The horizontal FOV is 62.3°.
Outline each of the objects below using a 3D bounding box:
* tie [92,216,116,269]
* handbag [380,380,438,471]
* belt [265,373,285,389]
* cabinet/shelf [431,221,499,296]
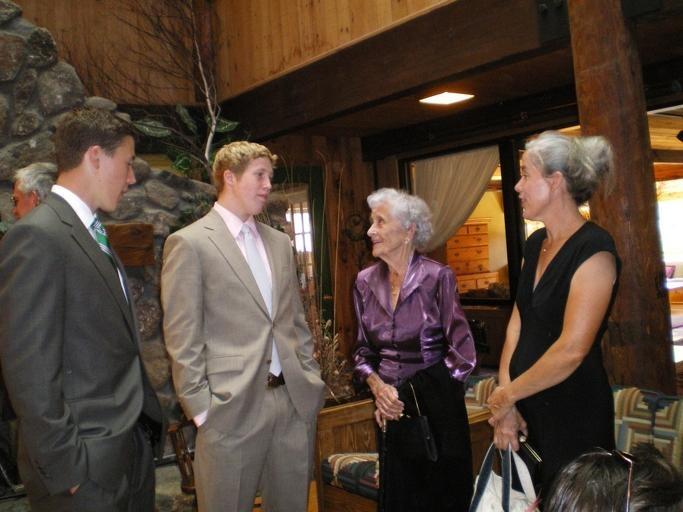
[{"bbox_3d":[-0.933,-0.073,2.204,0.055,0.259,0.029,-13,-27,-35],"label":"tie"},{"bbox_3d":[0.304,0.778,2.525,0.308,0.436,0.113,-10,-4,44],"label":"handbag"},{"bbox_3d":[-0.307,0.566,2.539,0.074,0.035,0.109,-1,-3,-4],"label":"belt"},{"bbox_3d":[1.776,-0.057,7.795,0.531,1.017,0.335,-5,20,23],"label":"cabinet/shelf"}]
